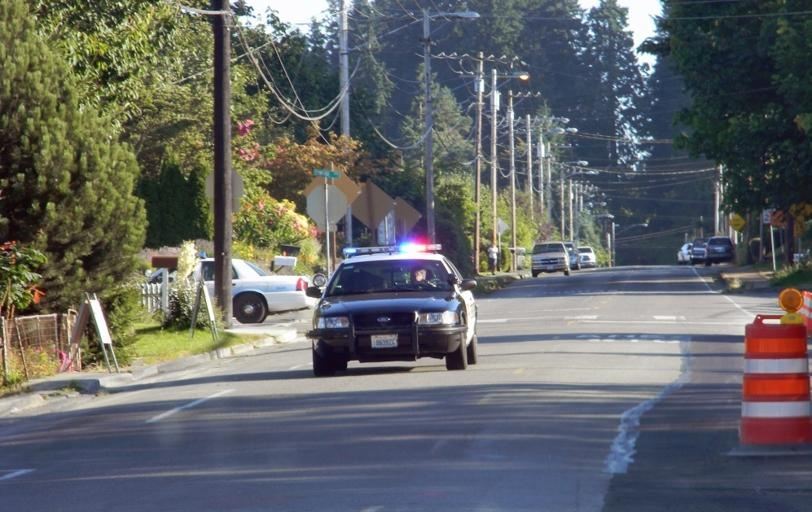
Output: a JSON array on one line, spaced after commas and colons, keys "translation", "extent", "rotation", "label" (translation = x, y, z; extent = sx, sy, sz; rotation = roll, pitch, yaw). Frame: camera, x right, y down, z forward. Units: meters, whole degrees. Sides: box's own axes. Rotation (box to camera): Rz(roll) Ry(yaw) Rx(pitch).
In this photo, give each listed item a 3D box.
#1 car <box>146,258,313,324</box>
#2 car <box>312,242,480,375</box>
[{"translation": [-5.622, 1.133, 38.447], "extent": [5.468, 2.015, 2.419], "rotation": [2, -1, 2], "label": "car"}, {"translation": [-0.304, 1.295, 26.346], "extent": [3.468, 2.453, 2.575], "rotation": [-1, 5, -6], "label": "car"}]
